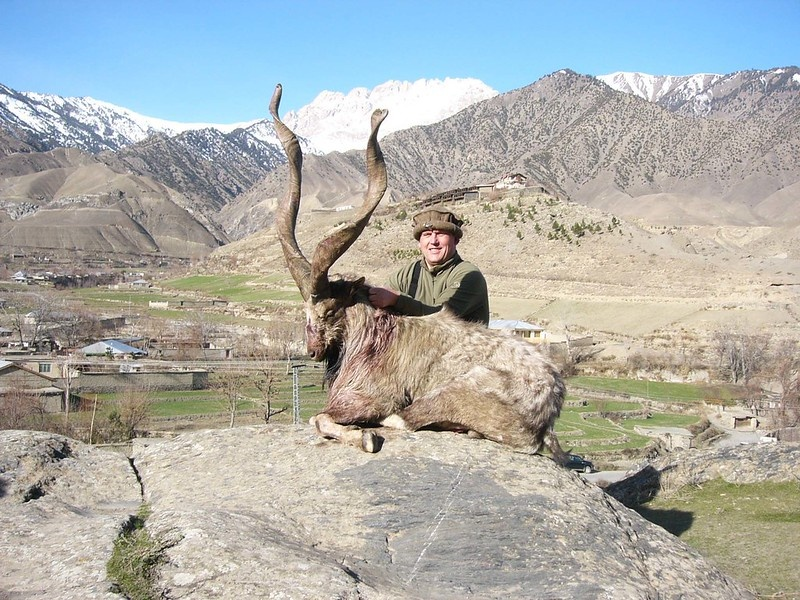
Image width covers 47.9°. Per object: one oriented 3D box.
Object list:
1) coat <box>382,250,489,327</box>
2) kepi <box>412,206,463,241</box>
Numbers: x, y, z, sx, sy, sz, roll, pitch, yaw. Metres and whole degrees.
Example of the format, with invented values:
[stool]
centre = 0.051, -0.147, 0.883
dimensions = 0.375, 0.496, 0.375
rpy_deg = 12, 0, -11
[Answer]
[coat]
centre = 0.311, -0.130, 11.496
dimensions = 1.125, 1.068, 0.915
rpy_deg = 2, -5, -33
[kepi]
centre = 0.516, -0.965, 11.543
dimensions = 0.463, 0.299, 0.480
rpy_deg = -4, -16, 29
